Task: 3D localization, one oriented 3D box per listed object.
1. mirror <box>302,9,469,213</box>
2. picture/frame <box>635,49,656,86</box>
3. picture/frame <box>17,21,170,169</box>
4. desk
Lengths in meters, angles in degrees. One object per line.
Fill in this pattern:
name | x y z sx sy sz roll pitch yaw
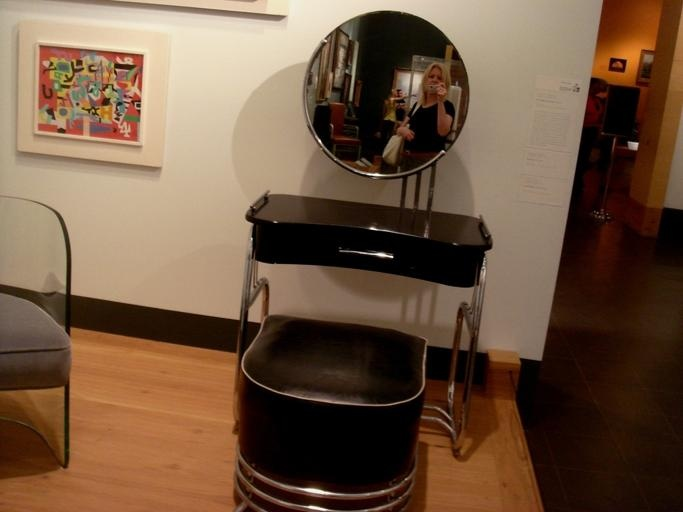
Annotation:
mirror | 0.190 -0.589 2.303 0.678 0.933 0.071 6 45 5
picture/frame | 4.745 -2.969 8.498 0.196 0.531 0.164 10 18 20
picture/frame | -1.150 -0.794 2.553 0.555 0.550 0.059 5 10 0
desk | 0.085 0.238 2.355 0.970 0.990 0.631 8 31 7
